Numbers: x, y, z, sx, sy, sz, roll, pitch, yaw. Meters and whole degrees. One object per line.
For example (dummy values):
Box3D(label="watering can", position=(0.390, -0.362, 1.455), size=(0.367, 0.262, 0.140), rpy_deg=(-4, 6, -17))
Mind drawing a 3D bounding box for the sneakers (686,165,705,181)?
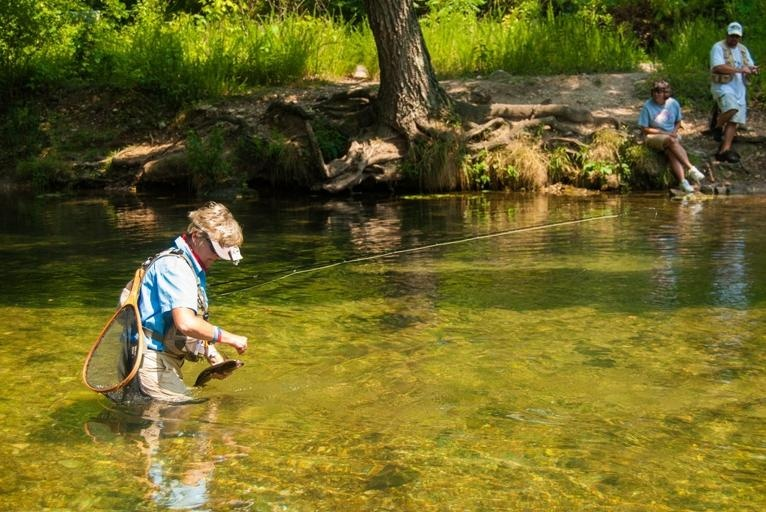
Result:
Box3D(label="sneakers", position=(6.540, -1.749, 16.082), size=(0.282, 0.170, 0.409), rpy_deg=(-35, 45, -7))

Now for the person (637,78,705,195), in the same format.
Box3D(label="person", position=(6.098, -2.530, 16.290), size=(1.280, 2.340, 0.846), rpy_deg=(1, 12, 19))

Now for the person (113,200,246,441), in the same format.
Box3D(label="person", position=(-1.999, 0.689, 7.641), size=(1.488, 2.643, 1.044), rpy_deg=(5, 50, -26))

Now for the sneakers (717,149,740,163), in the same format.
Box3D(label="sneakers", position=(7.407, -2.195, 16.743), size=(0.622, 0.175, 0.256), rpy_deg=(2, -18, 9))

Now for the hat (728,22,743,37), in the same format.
Box3D(label="hat", position=(7.032, -4.532, 15.406), size=(0.211, 0.277, 0.285), rpy_deg=(4, 12, 31))
